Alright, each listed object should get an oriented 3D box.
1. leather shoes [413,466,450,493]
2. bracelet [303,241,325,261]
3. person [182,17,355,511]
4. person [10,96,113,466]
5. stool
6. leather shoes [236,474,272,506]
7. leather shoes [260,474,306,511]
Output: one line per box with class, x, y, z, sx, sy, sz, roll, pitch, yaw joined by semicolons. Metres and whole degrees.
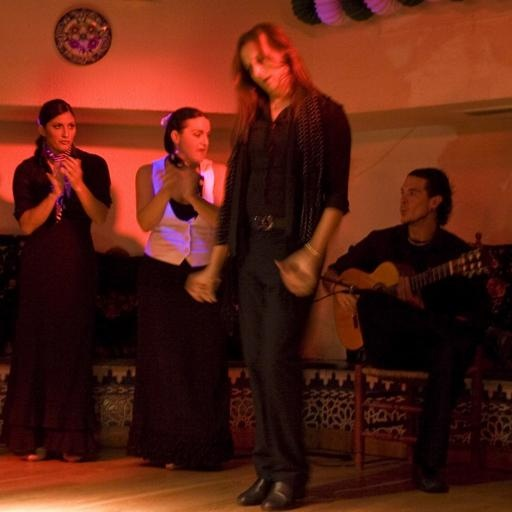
leather shoes;0.649;0.849;2.334;0.072;0.068;0.176;0;-13;-14
bracelet;0.158;-0.011;1.701;0.049;0.033;0.050;38;8;29
person;0.047;0.049;1.860;0.384;1.400;0.412;3;-9;-14
person;-0.982;0.111;3.002;0.486;1.714;0.367;2;-9;-10
stool;0.744;0.776;2.791;0.541;0.493;0.401;1;-14;15
leather shoes;0.002;0.716;1.895;0.055;0.061;0.152;-1;-3;34
leather shoes;0.082;0.695;1.801;0.063;0.070;0.171;-6;-12;27
